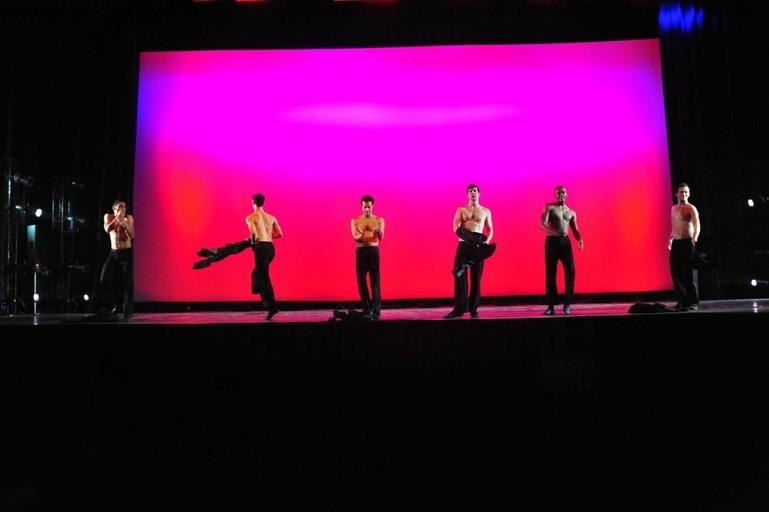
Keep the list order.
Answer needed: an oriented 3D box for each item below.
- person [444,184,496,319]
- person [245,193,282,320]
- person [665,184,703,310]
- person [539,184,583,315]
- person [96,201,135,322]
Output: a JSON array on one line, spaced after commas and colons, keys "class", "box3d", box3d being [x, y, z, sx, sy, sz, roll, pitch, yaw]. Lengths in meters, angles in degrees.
[{"class": "person", "box3d": [1.431, -0.086, 11.245, 0.787, 2.227, 1.515, -2, -5, 8]}, {"class": "person", "box3d": [-2.076, -0.030, 11.526, 0.536, 2.220, 1.346, 0, -5, -10]}, {"class": "person", "box3d": [4.955, -0.171, 11.036, 0.457, 2.099, 0.484, -3, -5, 24]}, {"class": "person", "box3d": [2.873, -0.125, 10.951, 0.696, 2.140, 0.616, 0, -5, -6]}, {"class": "person", "box3d": [-4.558, 0.054, 11.324, 0.524, 1.958, 0.610, 1, -5, -24]}]
